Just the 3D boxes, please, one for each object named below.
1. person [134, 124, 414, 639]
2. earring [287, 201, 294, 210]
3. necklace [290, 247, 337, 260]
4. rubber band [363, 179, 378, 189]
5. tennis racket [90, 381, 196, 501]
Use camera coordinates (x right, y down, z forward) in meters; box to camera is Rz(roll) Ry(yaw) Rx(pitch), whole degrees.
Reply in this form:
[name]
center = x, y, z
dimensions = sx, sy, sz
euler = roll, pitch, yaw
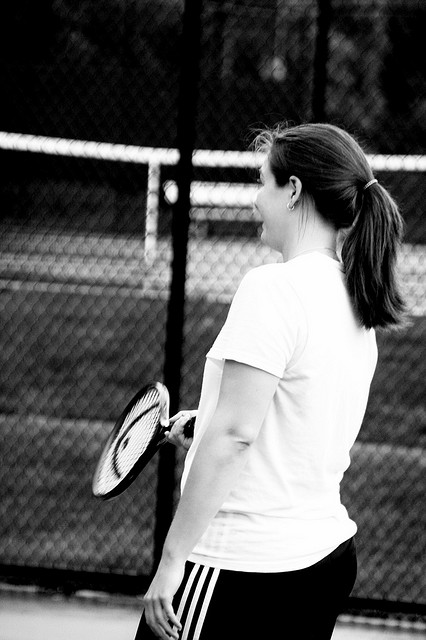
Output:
[person]
center = 0.134, 0.149, 1.575
dimensions = 0.405, 0.931, 0.578
euler = 11, 25, 15
[earring]
center = 0.154, -0.224, 1.623
dimensions = 0.012, 0.016, 0.008
euler = -15, 30, -36
[necklace]
center = 0.201, -0.133, 1.617
dimensions = 0.103, 0.024, 0.025
euler = -7, 27, -24
[rubber band]
center = 0.317, -0.271, 1.625
dimensions = 0.013, 0.014, 0.056
euler = 19, 29, 29
[tennis racket]
center = -0.207, 0.364, 2.515
dimensions = 0.065, 0.199, 0.474
euler = 29, 1, -13
